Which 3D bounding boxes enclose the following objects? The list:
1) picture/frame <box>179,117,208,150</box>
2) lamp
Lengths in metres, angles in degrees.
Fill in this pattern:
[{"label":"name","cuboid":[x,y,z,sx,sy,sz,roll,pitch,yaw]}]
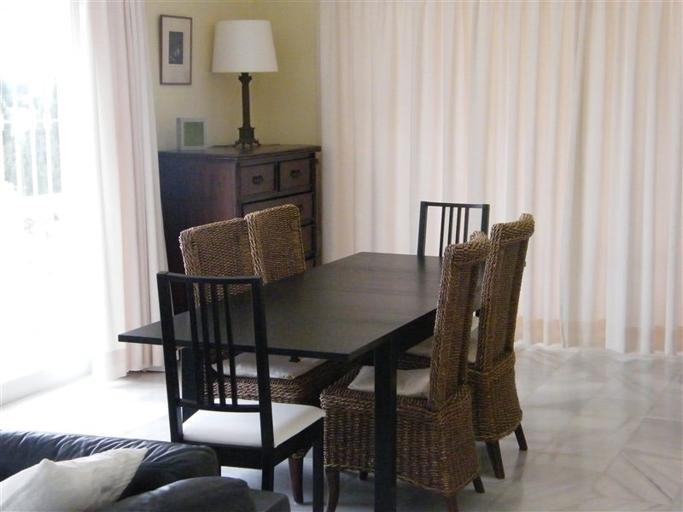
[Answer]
[{"label":"picture/frame","cuboid":[-1.090,-0.886,4.362,0.146,0.238,0.254,7,9,31]},{"label":"lamp","cuboid":[-0.740,-1.349,4.675,0.490,1.012,0.601,-9,16,-30]}]
